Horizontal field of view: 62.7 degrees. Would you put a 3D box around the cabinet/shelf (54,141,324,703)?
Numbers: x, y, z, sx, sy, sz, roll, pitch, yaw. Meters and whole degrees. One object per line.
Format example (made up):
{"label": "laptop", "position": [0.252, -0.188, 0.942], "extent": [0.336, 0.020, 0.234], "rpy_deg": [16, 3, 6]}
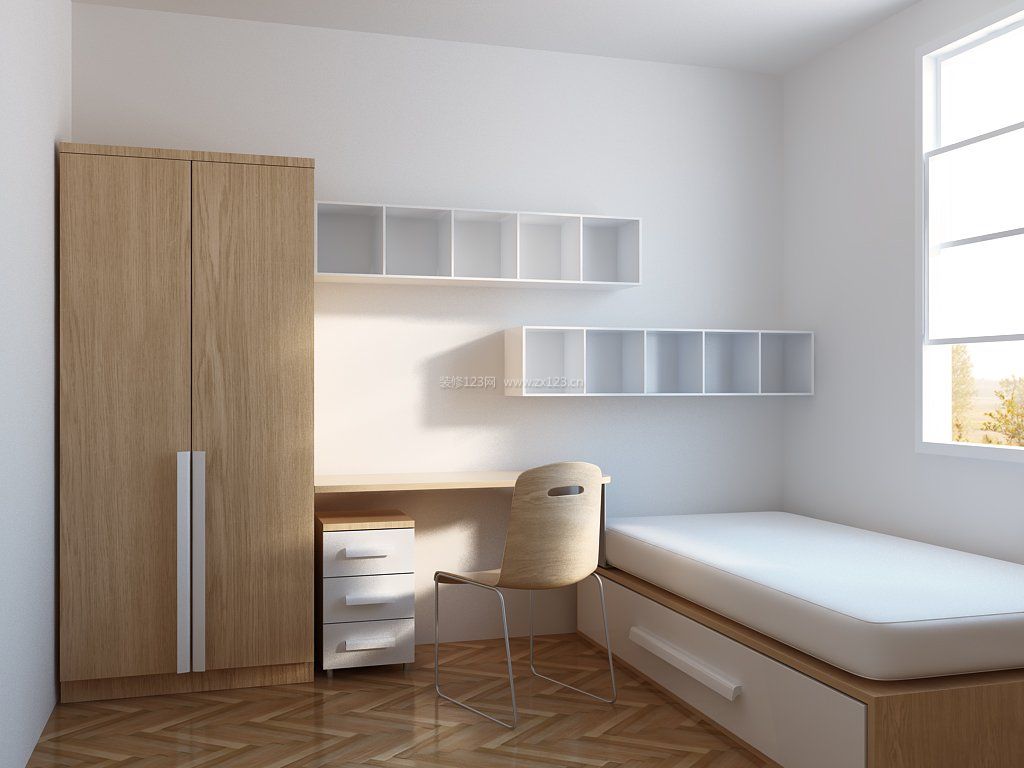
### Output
{"label": "cabinet/shelf", "position": [-1.558, 0.172, 4.053], "extent": [1.148, 2.561, 0.746], "rpy_deg": [0, 15, -21]}

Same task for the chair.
{"label": "chair", "position": [0.052, 0.890, 3.786], "extent": [0.719, 1.070, 0.752], "rpy_deg": [1, -2, -19]}
